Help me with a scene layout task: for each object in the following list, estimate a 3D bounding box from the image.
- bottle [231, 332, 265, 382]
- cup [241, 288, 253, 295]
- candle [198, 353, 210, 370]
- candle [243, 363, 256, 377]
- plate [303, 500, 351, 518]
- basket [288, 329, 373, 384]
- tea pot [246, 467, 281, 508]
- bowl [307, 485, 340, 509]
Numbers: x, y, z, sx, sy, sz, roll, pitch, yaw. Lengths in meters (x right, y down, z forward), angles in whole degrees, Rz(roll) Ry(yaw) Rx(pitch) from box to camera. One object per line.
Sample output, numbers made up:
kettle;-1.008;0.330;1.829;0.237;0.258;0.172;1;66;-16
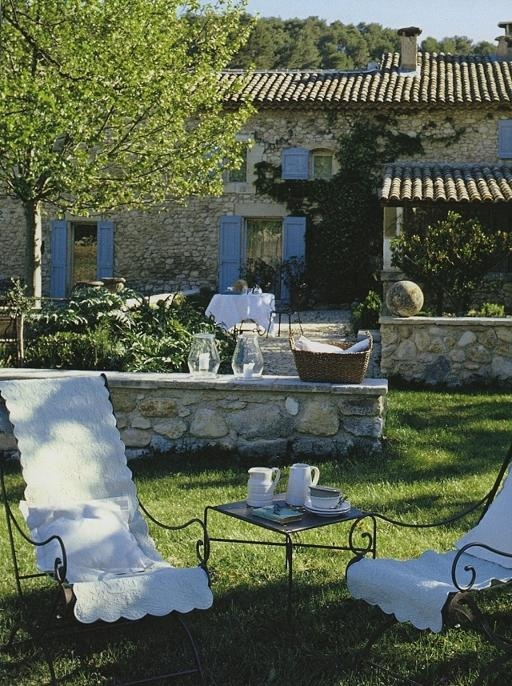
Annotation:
bottle;-0.055;0.097;7.018;0.279;0.382;0.273;1;3;0
cup;-0.098;-0.615;11.907;0.126;0.067;0.187;0;1;6
candle;-0.355;0.131;7.003;0.086;0.127;0.050;0;6;-17
candle;-0.049;0.191;6.936;0.093;0.102;0.090;1;0;-21
plate;0.326;0.768;4.647;0.214;0.058;0.112;2;5;4
basket;0.519;0.102;6.920;0.452;0.258;0.344;1;1;8
tea pot;0.049;0.696;4.896;0.201;0.194;0.145;3;-3;-27
bowl;0.313;0.711;4.629;0.111;0.067;0.111;3;-9;0
